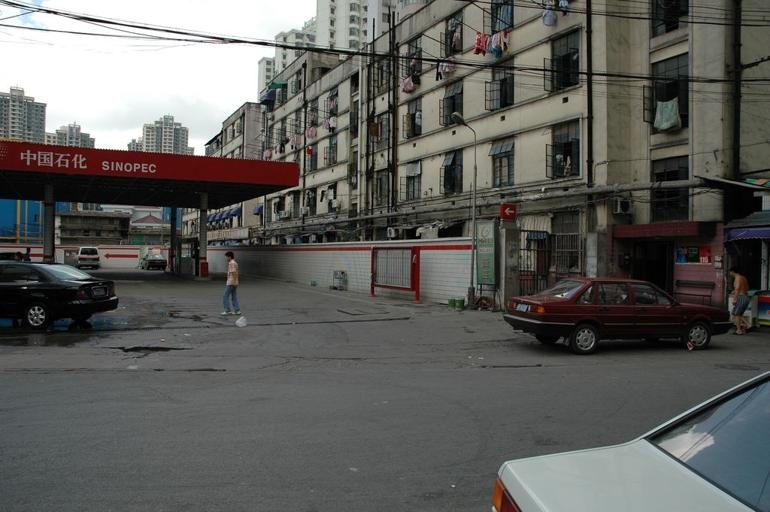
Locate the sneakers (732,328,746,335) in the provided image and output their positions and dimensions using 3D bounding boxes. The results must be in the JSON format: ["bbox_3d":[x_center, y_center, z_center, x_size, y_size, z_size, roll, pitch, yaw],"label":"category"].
[{"bbox_3d":[10.863,2.319,20.225,0.495,0.116,0.175,2,-2,-4],"label":"sneakers"}]

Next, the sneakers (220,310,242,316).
[{"bbox_3d":[-5.350,1.991,22.969,0.690,0.289,0.248,4,-3,-10],"label":"sneakers"}]

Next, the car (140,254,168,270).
[{"bbox_3d":[-21.669,0.609,61.843,1.357,0.835,2.837,-1,3,-30],"label":"car"}]

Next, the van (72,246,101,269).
[{"bbox_3d":[-26.525,0.098,58.924,1.504,1.389,2.840,0,7,-27],"label":"van"}]

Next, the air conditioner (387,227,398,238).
[{"bbox_3d":[0.484,-1.387,39.961,0.458,0.742,0.871,-4,7,-7],"label":"air conditioner"}]

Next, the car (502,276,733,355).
[{"bbox_3d":[5.814,1.414,17.257,4.521,1.454,2.220,-1,-1,-11],"label":"car"}]
